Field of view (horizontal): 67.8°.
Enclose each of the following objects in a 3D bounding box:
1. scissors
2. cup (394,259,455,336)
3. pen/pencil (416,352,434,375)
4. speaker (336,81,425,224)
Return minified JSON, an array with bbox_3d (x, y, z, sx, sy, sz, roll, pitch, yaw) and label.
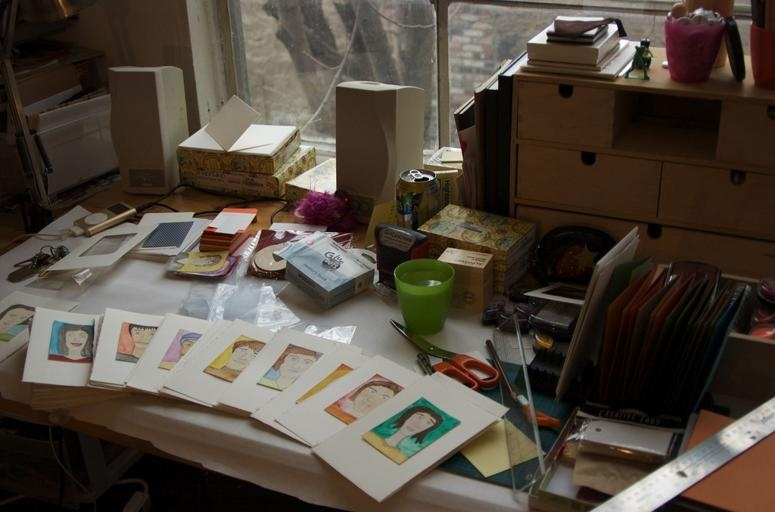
[{"bbox_3d":[0.121,0.203,1.325,0.265,0.085,0.192,-6,31,-8],"label":"scissors"},{"bbox_3d":[0.085,0.093,1.341,0.163,0.180,0.168,-2,26,1],"label":"cup"},{"bbox_3d":[0.084,0.231,1.256,0.020,0.016,0.059,2,30,-10],"label":"pen/pencil"},{"bbox_3d":[-0.024,-0.308,1.700,0.255,0.451,0.248,19,34,31],"label":"speaker"}]
